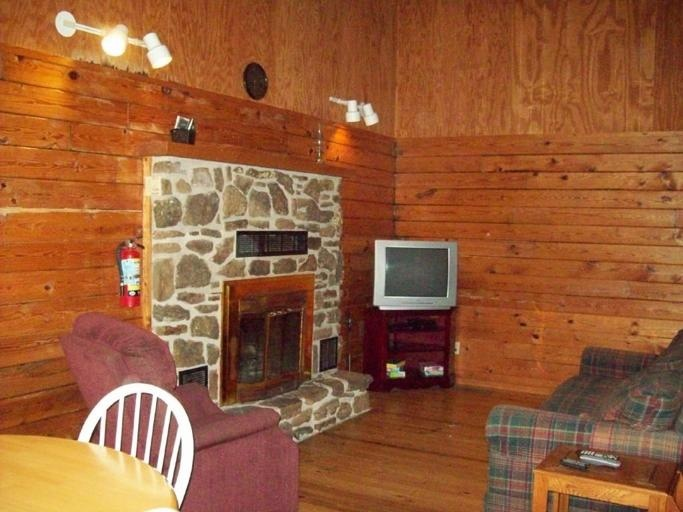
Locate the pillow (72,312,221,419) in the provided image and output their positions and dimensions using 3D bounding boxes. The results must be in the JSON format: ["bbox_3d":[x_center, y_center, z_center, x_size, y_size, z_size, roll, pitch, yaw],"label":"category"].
[{"bbox_3d":[-1.023,0.552,2.686,0.412,0.626,0.724,-10,16,-44],"label":"pillow"}]

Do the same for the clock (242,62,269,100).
[{"bbox_3d":[-0.704,-1.454,4.331,0.014,0.308,0.317,3,4,31],"label":"clock"}]

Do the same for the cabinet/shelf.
[{"bbox_3d":[0.697,0.988,5.537,1.000,0.805,0.364,-1,7,-15],"label":"cabinet/shelf"}]

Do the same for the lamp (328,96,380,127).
[{"bbox_3d":[0.114,-1.472,5.320,0.467,0.341,0.530,1,3,-2],"label":"lamp"}]

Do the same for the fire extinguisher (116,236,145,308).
[{"bbox_3d":[-1.378,0.111,3.368,0.137,0.436,0.061,-1,4,-29],"label":"fire extinguisher"}]

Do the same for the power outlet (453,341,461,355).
[{"bbox_3d":[1.307,1.037,5.879,0.069,0.168,0.189,1,5,16],"label":"power outlet"}]
